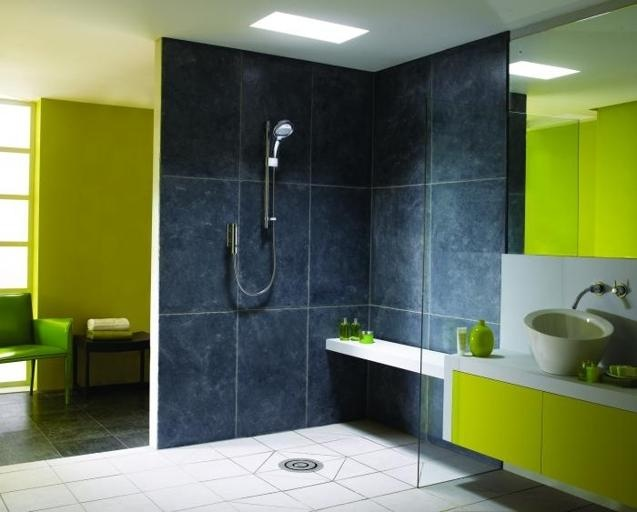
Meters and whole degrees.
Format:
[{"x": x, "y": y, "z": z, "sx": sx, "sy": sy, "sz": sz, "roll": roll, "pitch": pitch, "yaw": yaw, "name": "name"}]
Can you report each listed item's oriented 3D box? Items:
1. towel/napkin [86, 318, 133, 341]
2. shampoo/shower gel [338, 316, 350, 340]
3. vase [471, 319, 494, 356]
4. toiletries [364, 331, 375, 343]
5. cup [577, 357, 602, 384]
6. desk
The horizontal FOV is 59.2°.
[{"x": -2.118, "y": 0.745, "z": 5.691, "sx": 0.414, "sy": 0.192, "sz": 0.147, "roll": 1, "pitch": 1, "yaw": -10, "name": "towel/napkin"}, {"x": 0.227, "y": 0.629, "z": 4.871, "sx": 0.108, "sy": 0.182, "sz": 0.162, "roll": 1, "pitch": 1, "yaw": 2, "name": "shampoo/shower gel"}, {"x": 1.015, "y": 0.516, "z": 3.499, "sx": 0.151, "sy": 0.217, "sz": 0.152, "roll": -1, "pitch": 5, "yaw": 36, "name": "vase"}, {"x": 0.419, "y": 0.683, "z": 4.729, "sx": 0.086, "sy": 0.089, "sz": 0.088, "roll": -1, "pitch": 3, "yaw": -29, "name": "toiletries"}, {"x": 1.458, "y": 0.606, "z": 3.020, "sx": 0.092, "sy": 0.144, "sz": 0.118, "roll": -2, "pitch": 3, "yaw": -35, "name": "cup"}, {"x": -2.162, "y": 0.975, "z": 5.867, "sx": 0.726, "sy": 0.591, "sz": 0.606, "roll": 1, "pitch": 1, "yaw": -29, "name": "desk"}]
